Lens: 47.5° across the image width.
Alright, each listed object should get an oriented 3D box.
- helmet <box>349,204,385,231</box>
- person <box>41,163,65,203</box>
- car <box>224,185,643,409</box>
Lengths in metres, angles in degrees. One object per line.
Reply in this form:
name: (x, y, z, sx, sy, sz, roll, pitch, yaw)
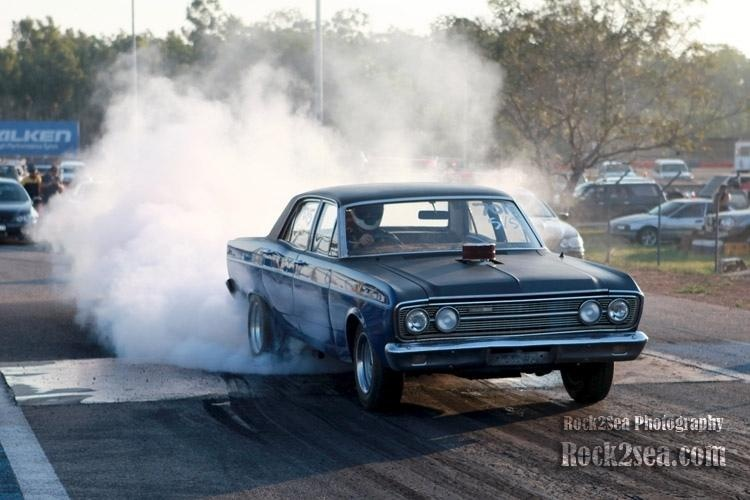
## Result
helmet: (-0.119, -0.344, 9.012, 0.268, 0.292, 0.336, 5, -1, -34)
person: (-9.996, -2.041, 26.356, 0.766, 1.270, 0.482, -2, -24, -11)
car: (0.234, 0.362, 9.292, 2.240, 1.359, 3.892, 0, 2, -27)
